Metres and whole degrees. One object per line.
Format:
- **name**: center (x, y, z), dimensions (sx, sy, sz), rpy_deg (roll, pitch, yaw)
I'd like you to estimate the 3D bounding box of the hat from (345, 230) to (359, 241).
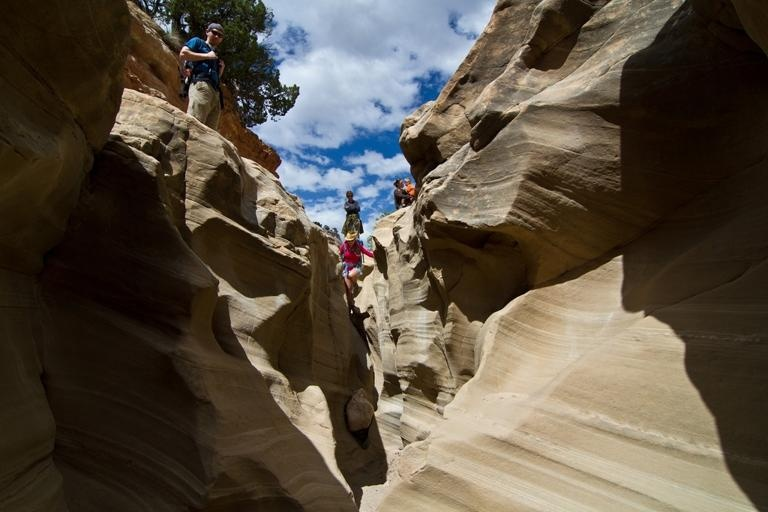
- **hat**: center (-0.775, -0.404, 13.249), dimensions (0.297, 0.299, 0.099), rpy_deg (-22, -71, 6)
